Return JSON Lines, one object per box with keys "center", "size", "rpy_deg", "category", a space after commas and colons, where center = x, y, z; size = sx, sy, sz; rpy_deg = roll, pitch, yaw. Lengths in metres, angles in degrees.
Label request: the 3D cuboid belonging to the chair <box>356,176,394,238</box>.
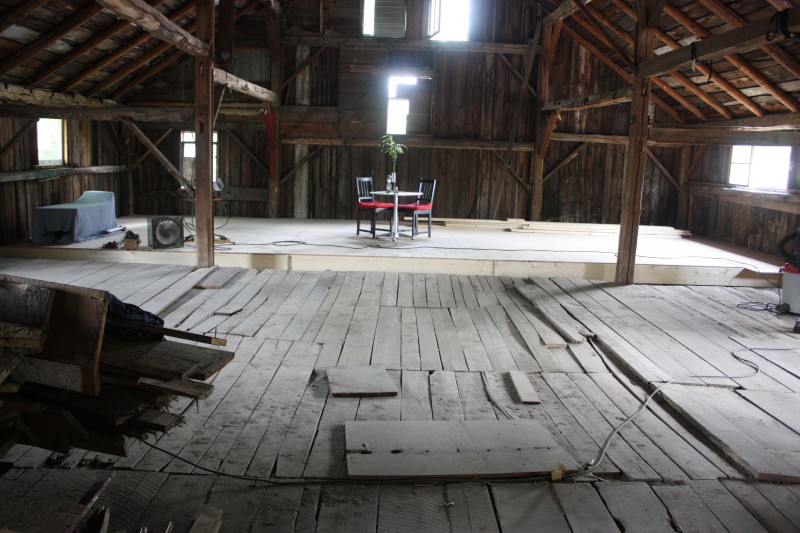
{"center": [-0.519, -1.150, 10.143], "size": [0.682, 1.014, 0.586], "rpy_deg": [13, 17, 35], "category": "chair"}
